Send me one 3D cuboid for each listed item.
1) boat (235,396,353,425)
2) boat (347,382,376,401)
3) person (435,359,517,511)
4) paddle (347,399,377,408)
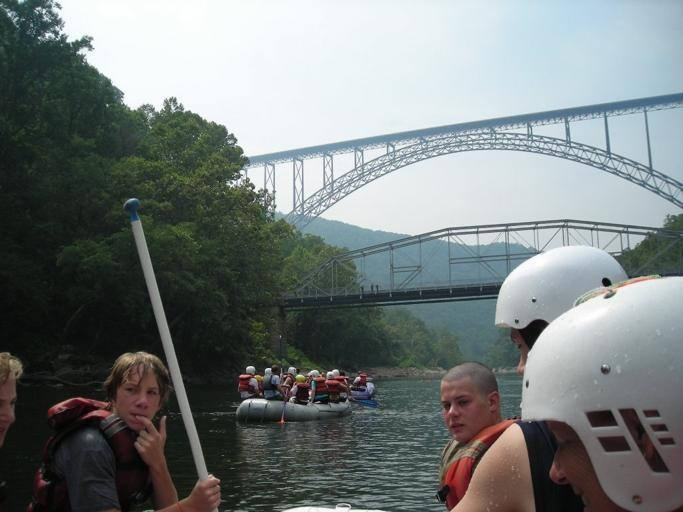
[{"bbox_3d":[-1.716,5.600,24.896,4.783,0.834,0.786,12,-18,-43],"label":"boat"},{"bbox_3d":[0.900,6.425,32.503,1.406,0.826,2.033,2,-8,-4],"label":"boat"},{"bbox_3d":[0.812,1.071,4.175,0.452,0.868,0.531,-2,-13,10],"label":"person"},{"bbox_3d":[1.003,6.960,32.402,0.441,0.294,1.956,12,-11,-21],"label":"paddle"}]
